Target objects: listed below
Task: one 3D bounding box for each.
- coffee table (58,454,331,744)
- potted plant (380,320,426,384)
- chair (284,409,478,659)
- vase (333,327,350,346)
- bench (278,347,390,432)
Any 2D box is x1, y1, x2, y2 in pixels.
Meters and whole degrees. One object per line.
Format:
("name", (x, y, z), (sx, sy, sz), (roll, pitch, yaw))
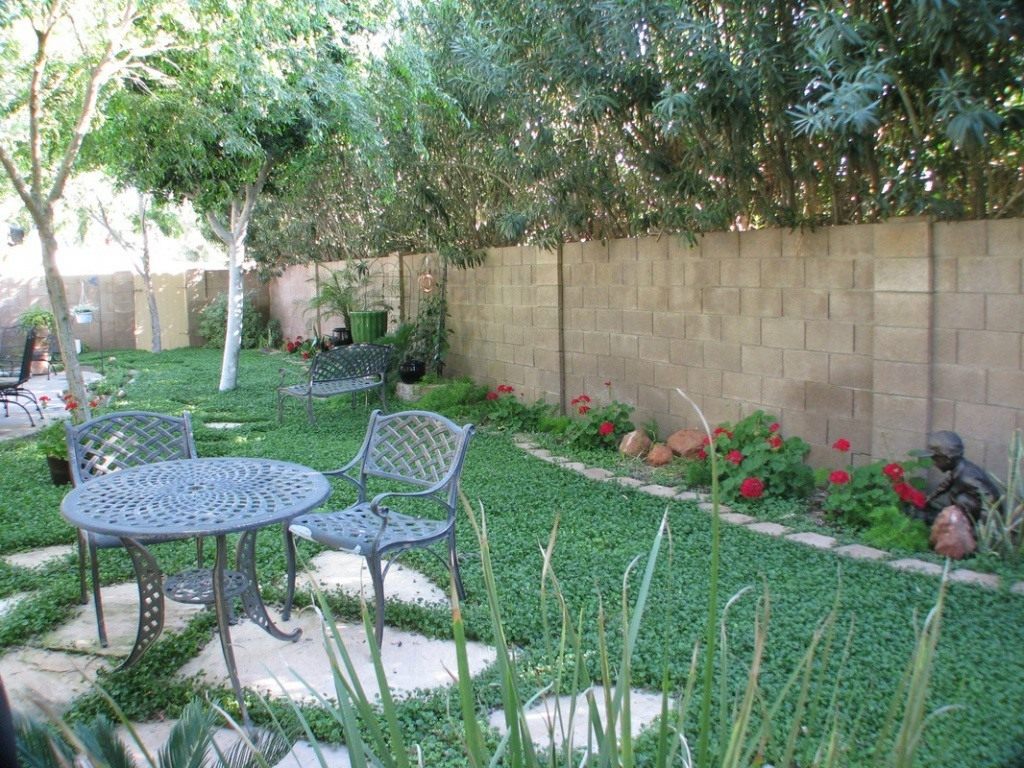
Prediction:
("coffee table", (-1.313, 0.878, 3.264), (0.880, 0.747, 0.962), (-17, -9, 27))
("potted plant", (-1.266, -0.371, 9.062), (0.673, 0.929, 0.614), (-2, 3, -41))
("chair", (-0.679, 0.670, 3.768), (0.859, 1.070, 0.906), (5, 2, 8))
("vase", (-2.384, -0.675, 10.443), (0.223, 0.246, 0.520), (-2, 3, -16))
("bench", (-1.891, -0.038, 8.096), (0.706, 0.880, 1.166), (10, 11, 33))
